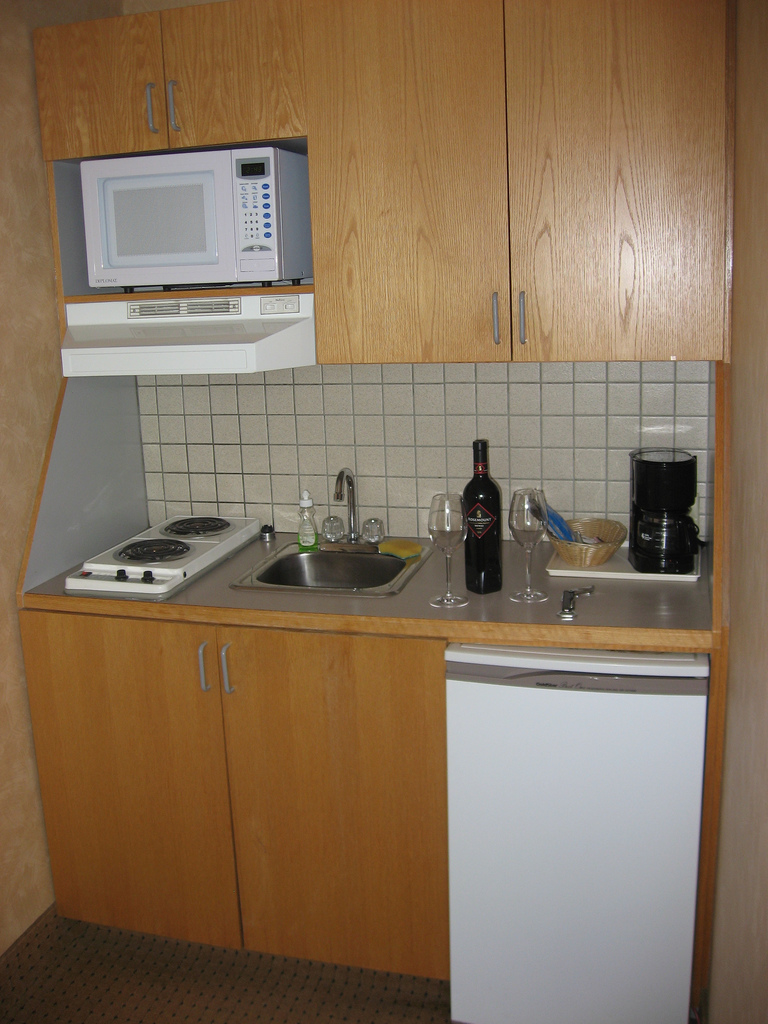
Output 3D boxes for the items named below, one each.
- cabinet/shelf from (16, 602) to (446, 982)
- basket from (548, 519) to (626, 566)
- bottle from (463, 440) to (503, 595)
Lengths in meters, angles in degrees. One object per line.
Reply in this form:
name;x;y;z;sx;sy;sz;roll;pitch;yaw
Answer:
cabinet/shelf;-0.295;0.399;2.091;1.203;0.996;0.698;1;8;14
basket;0.491;0.065;1.968;0.171;0.089;0.281;1;16;13
bottle;0.204;0.013;1.714;0.079;0.337;0.084;-2;14;1
